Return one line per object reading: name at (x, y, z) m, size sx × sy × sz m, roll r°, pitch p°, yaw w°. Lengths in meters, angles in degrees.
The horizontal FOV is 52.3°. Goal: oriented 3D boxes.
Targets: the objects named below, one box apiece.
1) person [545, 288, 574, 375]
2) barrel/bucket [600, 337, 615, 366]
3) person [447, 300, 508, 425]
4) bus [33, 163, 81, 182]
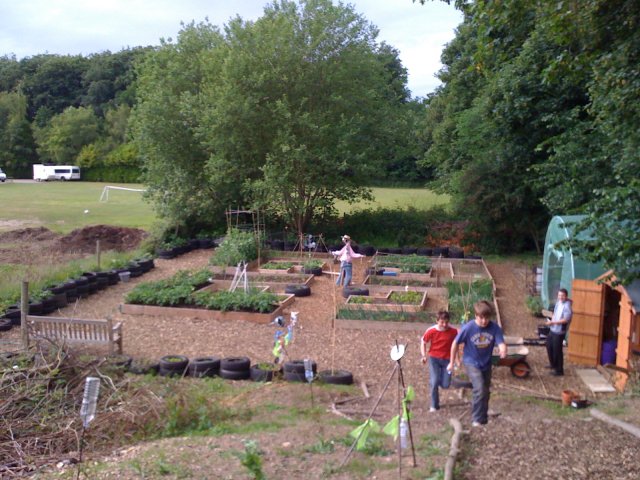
person at (5.468, 2.103, 14.899) m, size 0.511 × 1.943 × 0.410 m, roll 0°, pitch 3°, yaw 1°
barrel/bucket at (6.635, 2.623, 15.024) m, size 0.328 × 0.490 × 0.434 m, roll 1°, pitch 3°, yaw 24°
person at (2.985, 2.327, 12.368) m, size 1.011 × 2.319 × 0.543 m, roll 1°, pitch 3°, yaw 15°
bus at (-29.620, -7.358, 71.455) m, size 6.242 × 1.807 × 3.423 m, roll 1°, pitch 3°, yaw 12°
